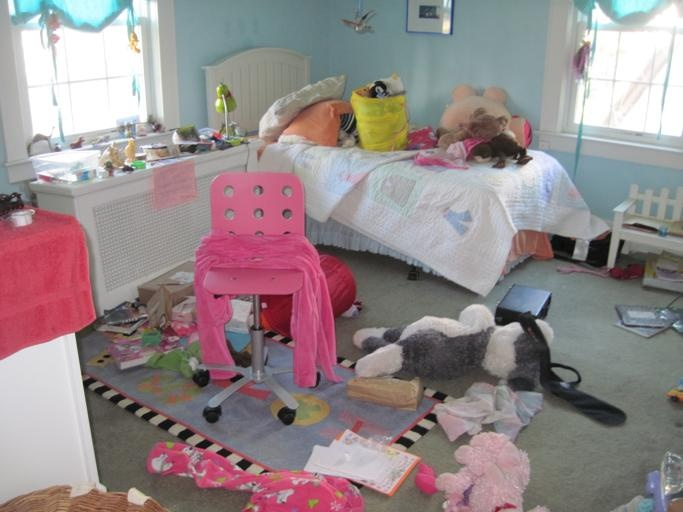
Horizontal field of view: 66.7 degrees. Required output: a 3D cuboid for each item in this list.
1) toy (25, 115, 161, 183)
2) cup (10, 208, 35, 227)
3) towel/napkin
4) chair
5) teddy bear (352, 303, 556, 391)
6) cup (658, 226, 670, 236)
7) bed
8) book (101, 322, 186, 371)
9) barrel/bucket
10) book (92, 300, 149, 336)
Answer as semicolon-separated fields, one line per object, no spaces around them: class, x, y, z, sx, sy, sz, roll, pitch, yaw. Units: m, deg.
toy;-1.573;-0.715;3.435;0.582;0.266;1.050;2;18;6
cup;-1.041;-0.128;1.710;0.080;0.040;0.062;-3;10;-8
towel/napkin;-0.397;0.298;2.636;0.790;0.814;0.367;0;20;3
chair;-0.410;0.173;2.471;0.690;1.033;0.653;-1;18;-10
teddy bear;0.642;0.423;2.761;0.868;0.291;0.492;-1;5;6
cup;2.272;-0.182;3.673;0.071;0.071;0.067;-6;24;3
bed;0.466;-0.842;4.367;2.665;1.499;1.804;20;30;33
book;-1.132;0.512;2.944;0.250;0.062;0.267;-15;25;-40
barrel/bucket;0.322;-1.122;4.194;0.457;0.470;0.453;-3;30;2
book;-1.309;0.375;3.127;0.190;0.065;0.222;9;29;11
